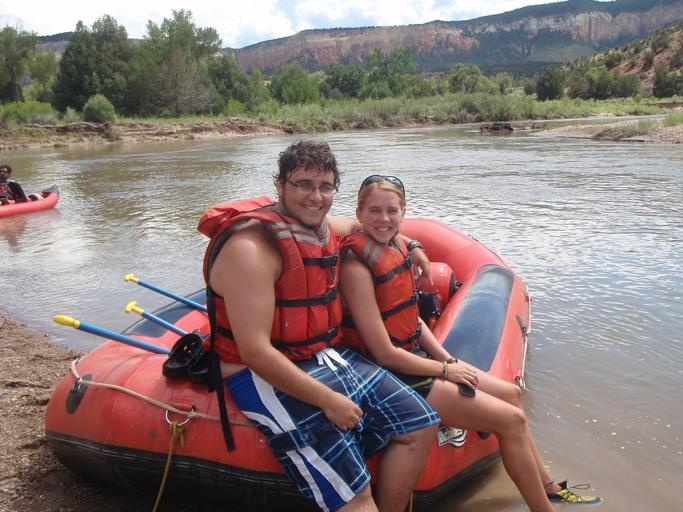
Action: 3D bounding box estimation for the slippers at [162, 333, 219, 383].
[{"bbox_3d":[-0.826,0.569,3.078,0.233,0.104,0.308,6,29,13],"label":"slippers"}]
